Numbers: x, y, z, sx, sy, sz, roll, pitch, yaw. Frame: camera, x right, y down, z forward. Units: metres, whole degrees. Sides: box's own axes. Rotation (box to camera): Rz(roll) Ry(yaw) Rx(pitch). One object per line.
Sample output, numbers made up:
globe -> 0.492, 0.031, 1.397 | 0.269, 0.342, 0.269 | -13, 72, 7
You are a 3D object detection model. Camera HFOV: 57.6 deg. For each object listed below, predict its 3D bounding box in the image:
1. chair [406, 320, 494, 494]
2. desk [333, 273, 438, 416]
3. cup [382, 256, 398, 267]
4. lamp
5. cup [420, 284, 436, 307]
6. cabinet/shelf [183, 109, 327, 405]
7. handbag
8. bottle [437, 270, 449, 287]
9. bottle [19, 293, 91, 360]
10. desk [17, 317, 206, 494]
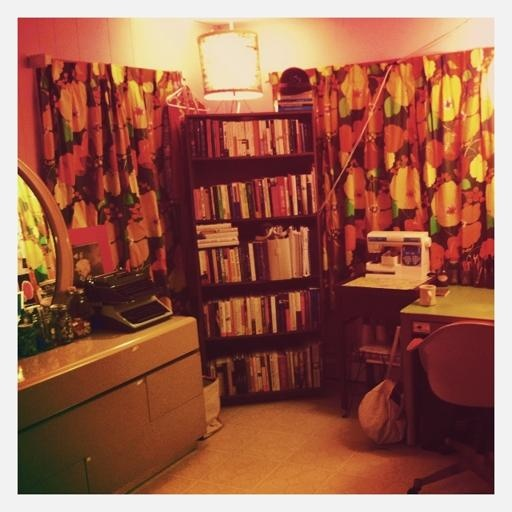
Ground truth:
chair -> 0.921, 0.676, 2.203 | 0.359, 0.864, 0.545 | 0, 7, 27
desk -> 0.653, 0.603, 3.121 | 0.565, 0.772, 0.571 | 1, -6, -3
cup -> 0.872, 0.035, 3.033 | 0.063, 0.045, 0.069 | 0, -2, 0
lamp -> -0.121, -1.257, 3.066 | 0.397, 0.515, 0.433 | -1, 13, 6
cup -> 0.969, 0.225, 2.661 | 0.070, 0.112, 0.121 | 2, 9, 14
cabinet/shelf -> 0.048, 0.005, 3.520 | 0.863, 2.200, 0.470 | -5, 12, -2
handbag -> 0.726, 0.921, 2.639 | 0.265, 0.375, 0.201 | 12, -14, -12
bottle -> 1.244, 0.149, 3.110 | 0.062, 0.113, 0.111 | 0, -6, 4
bottle -> -0.949, 0.321, 2.242 | 0.116, 0.160, 0.413 | 1, 11, 17
desk -> -0.771, 0.753, 2.465 | 0.887, 0.656, 0.506 | -7, 0, 26
